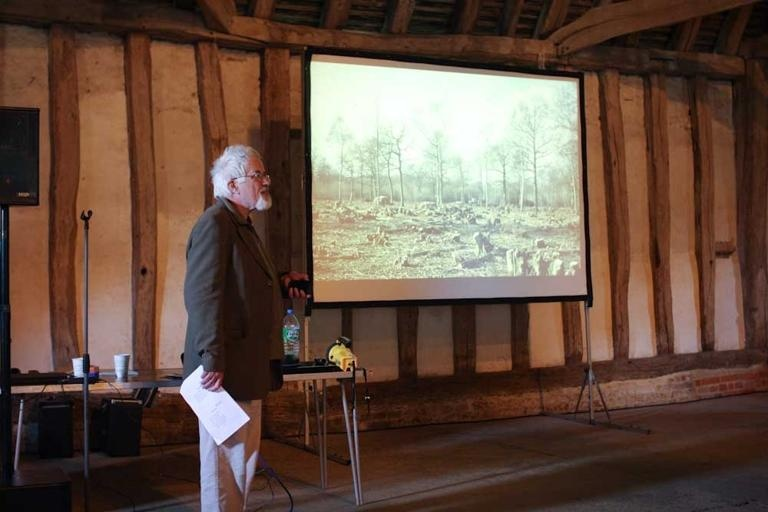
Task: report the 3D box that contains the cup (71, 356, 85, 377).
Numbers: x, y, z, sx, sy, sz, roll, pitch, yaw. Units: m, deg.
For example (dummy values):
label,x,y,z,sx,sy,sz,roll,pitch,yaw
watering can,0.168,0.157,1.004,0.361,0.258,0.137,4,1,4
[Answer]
label,x,y,z,sx,sy,sz,roll,pitch,yaw
cup,-2.392,0.871,5.976,0.072,0.136,0.199,-4,9,-22

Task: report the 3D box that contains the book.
label,x,y,z,sx,sy,sz,roll,pitch,yaw
book,-1.134,0.984,5.068,0.473,0.494,0.115,3,9,22

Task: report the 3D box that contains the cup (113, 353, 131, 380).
label,x,y,z,sx,sy,sz,roll,pitch,yaw
cup,-2.048,0.874,5.983,0.103,0.179,0.267,-3,9,-20

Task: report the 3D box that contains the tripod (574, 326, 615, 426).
label,x,y,z,sx,sy,sz,roll,pitch,yaw
tripod,2.160,1.065,7.800,0.375,1.219,0.849,2,8,14
